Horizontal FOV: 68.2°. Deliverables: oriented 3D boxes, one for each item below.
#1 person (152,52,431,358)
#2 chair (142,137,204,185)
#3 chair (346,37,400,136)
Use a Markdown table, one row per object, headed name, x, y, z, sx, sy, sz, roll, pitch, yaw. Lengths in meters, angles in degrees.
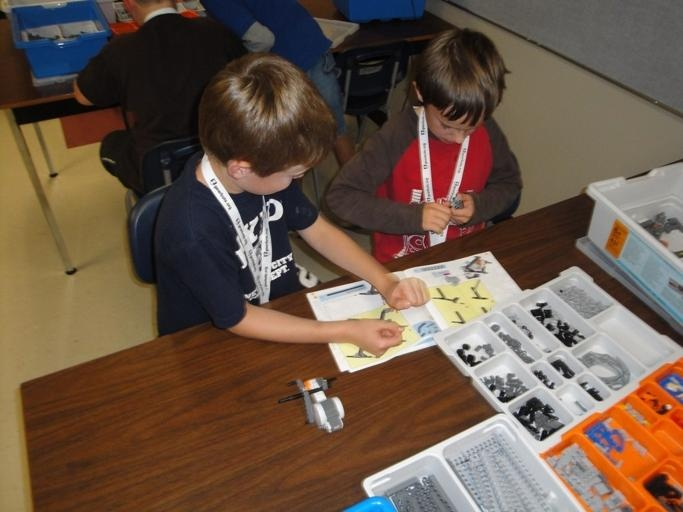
| name | x | y | z | sx | sy | sz | roll | pitch | yaw |
| --- | --- | --- | --- | --- | --- | --- | --- | --- | --- |
| person | -0.143 | -0.067 | 1.511 | 0.805 | 0.875 | 0.596 | 18 | 38 | 9 |
| chair | -0.712 | -0.396 | 2.086 | 0.114 | 0.208 | 0.154 | 47 | 52 | 11 |
| chair | 0.180 | -1.072 | 3.120 | 0.382 | 0.527 | 0.392 | -12 | 62 | -5 |
